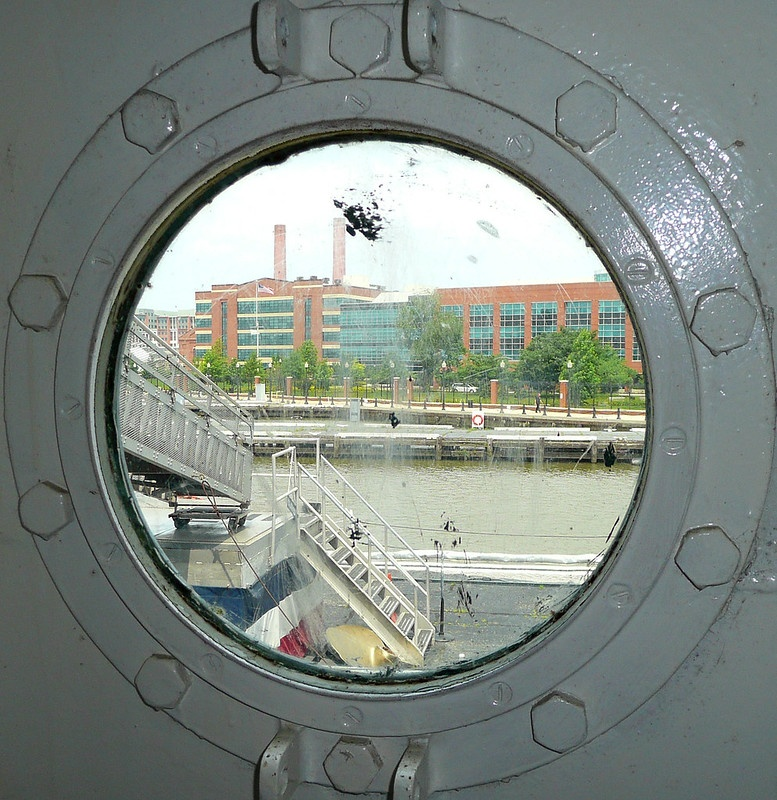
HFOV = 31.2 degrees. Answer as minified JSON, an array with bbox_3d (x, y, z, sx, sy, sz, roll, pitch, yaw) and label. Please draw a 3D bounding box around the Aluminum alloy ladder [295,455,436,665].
[{"bbox_3d":[-0.169,0.888,7.974,0.923,1.506,0.703,4,6,10],"label":"Aluminum alloy ladder"}]
